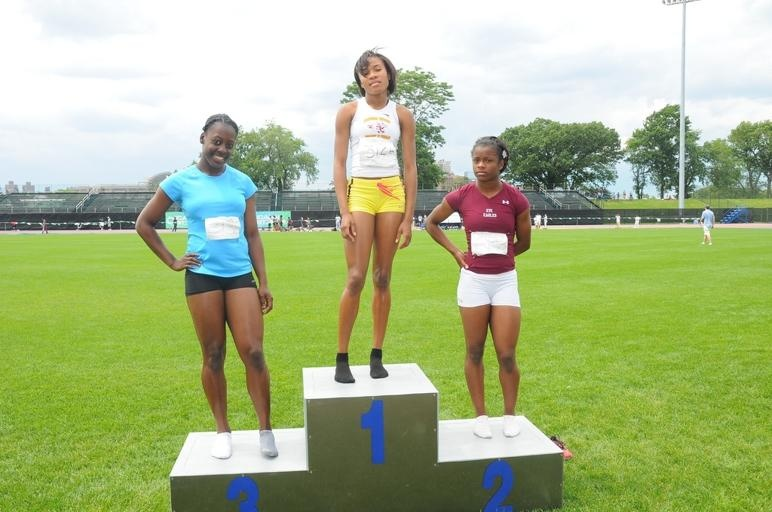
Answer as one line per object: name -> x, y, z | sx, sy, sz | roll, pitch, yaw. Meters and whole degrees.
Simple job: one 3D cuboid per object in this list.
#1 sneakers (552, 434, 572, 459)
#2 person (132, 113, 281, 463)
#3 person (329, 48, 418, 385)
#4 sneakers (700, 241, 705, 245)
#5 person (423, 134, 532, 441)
sneakers -> 1.824, 1.993, 6.064 | 0.197, 0.175, 0.277 | -2, 6, -7
person -> -1.673, 0.243, 5.581 | 1.127, 3.223, 0.980 | -2, 6, -12
person -> -0.154, -0.453, 6.092 | 0.773, 3.421, 1.277 | 3, 7, 35
sneakers -> 14.844, -0.642, 27.295 | 0.167, 0.183, 0.314 | -9, 5, 18
person -> 1.081, 0.301, 5.950 | 0.849, 3.028, 1.124 | -3, 6, -19
